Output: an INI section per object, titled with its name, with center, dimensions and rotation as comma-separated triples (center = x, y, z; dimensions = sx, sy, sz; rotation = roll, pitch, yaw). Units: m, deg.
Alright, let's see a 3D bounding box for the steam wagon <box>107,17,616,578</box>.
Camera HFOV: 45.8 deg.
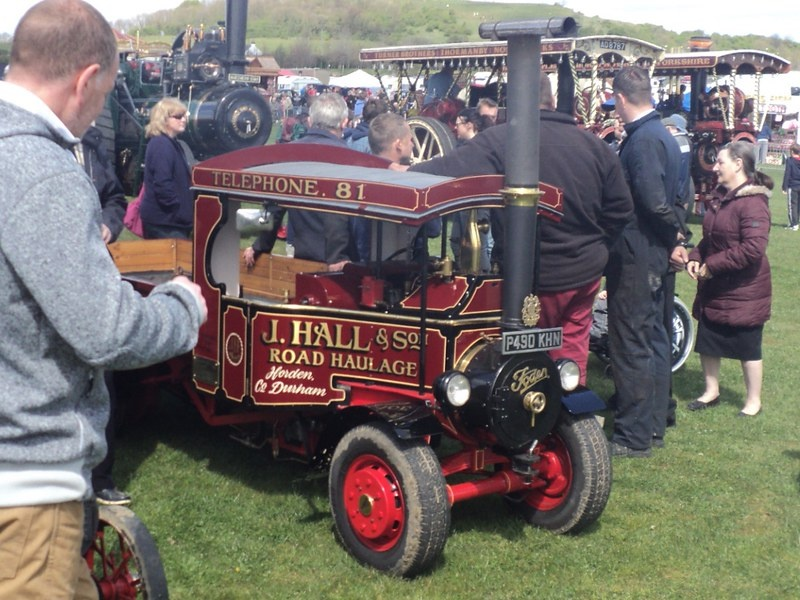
[steam wagon]
center = -0.607, -0.281, 5.995
dimensions = 3.731, 2.958, 1.516
rotation = 11, 10, 39
